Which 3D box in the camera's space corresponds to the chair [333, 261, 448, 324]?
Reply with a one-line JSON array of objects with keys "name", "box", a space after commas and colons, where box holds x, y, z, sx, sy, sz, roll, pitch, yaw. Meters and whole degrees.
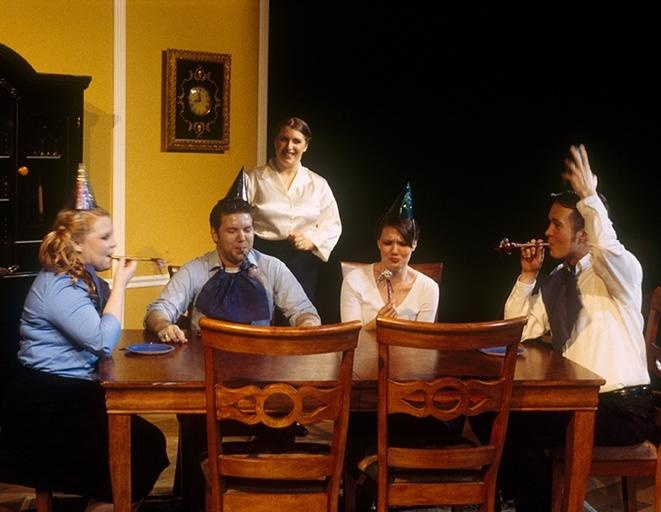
[{"name": "chair", "box": [0.273, 0.301, 3.196, 0.465, 0.498, 0.264, 2, -7, 1]}]

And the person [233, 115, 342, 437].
[{"name": "person", "box": [-0.238, -0.010, 4.532, 0.649, 1.778, 0.533, -7, 36, -5]}]
